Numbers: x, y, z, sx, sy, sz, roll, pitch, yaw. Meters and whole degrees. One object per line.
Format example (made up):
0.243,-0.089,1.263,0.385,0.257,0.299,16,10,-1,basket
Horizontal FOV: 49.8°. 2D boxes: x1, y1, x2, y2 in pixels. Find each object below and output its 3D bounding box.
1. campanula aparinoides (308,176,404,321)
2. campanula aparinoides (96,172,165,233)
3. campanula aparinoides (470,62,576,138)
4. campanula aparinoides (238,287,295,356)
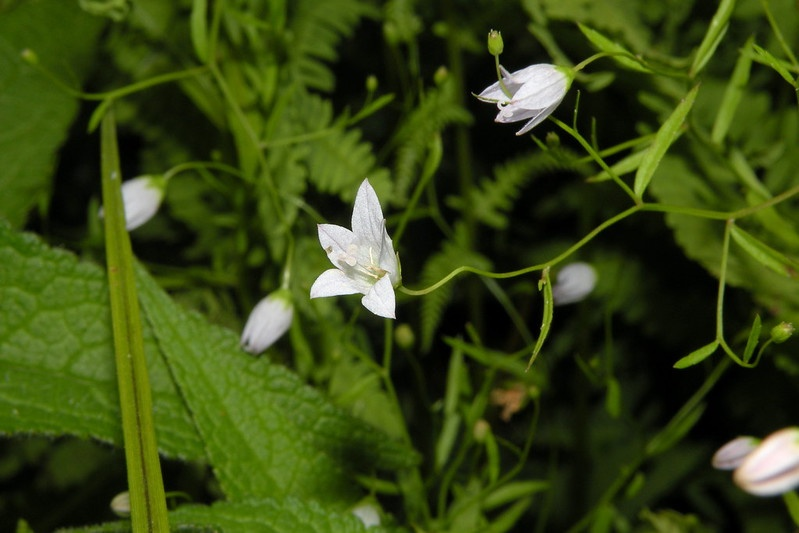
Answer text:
-0.054,-0.027,1.235,0.125,0.200,0.137,8,13,-1,campanula aparinoides
-0.399,-0.089,1.315,0.108,0.063,0.039,-33,-12,-14,campanula aparinoides
0.174,-0.244,1.234,0.108,0.096,0.115,19,17,33,campanula aparinoides
-0.206,0.086,1.344,0.058,0.037,0.108,30,59,9,campanula aparinoides
